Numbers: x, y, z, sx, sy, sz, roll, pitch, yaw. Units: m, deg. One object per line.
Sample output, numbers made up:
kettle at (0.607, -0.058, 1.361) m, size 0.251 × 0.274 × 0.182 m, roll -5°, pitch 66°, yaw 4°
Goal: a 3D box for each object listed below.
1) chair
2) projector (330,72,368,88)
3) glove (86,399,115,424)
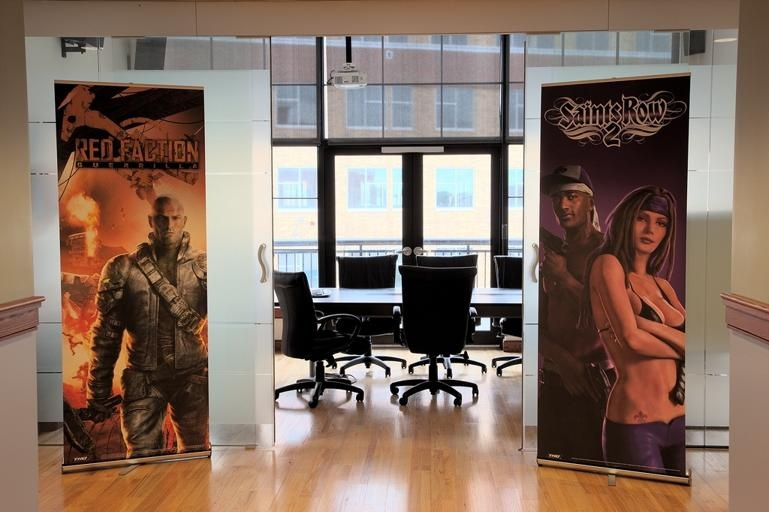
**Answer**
chair at (0.247, 1.090, 6.956) m, size 2.110 × 1.211 × 1.247 m, roll 0°, pitch 3°, yaw 4°
projector at (-0.374, -1.770, 7.301) m, size 0.294 × 0.165 × 0.387 m, roll -2°, pitch 7°, yaw -18°
glove at (-2.158, 1.165, 5.494) m, size 0.162 × 0.176 × 0.060 m, roll 6°, pitch 11°, yaw -9°
